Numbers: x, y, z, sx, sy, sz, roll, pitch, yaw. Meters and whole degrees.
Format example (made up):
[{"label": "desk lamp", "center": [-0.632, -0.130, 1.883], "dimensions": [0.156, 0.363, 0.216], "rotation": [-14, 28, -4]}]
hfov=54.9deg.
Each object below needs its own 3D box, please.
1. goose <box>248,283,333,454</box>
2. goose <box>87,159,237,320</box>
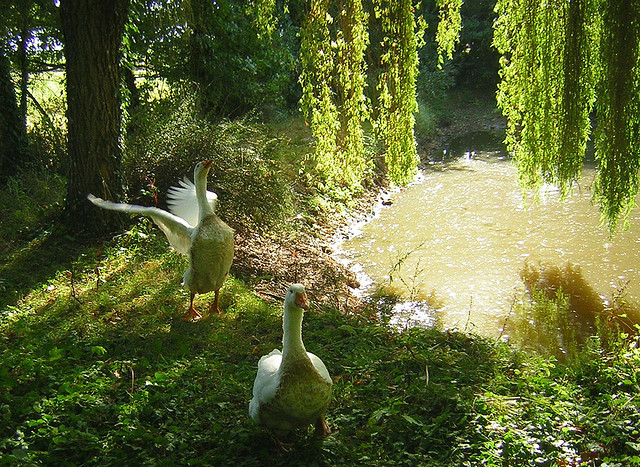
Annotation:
[{"label": "goose", "center": [-0.255, 1.281, 6.404], "dimensions": [0.745, 1.812, 0.817], "rotation": [1, 3, 9]}, {"label": "goose", "center": [-1.786, 0.069, 8.713], "dimensions": [1.856, 2.149, 2.779], "rotation": [1, 3, 42]}]
